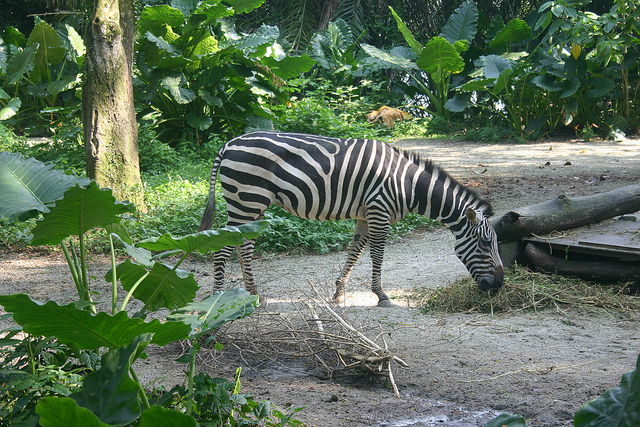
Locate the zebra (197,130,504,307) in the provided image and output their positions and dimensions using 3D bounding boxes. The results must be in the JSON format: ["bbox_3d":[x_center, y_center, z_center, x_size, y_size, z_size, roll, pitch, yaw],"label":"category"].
[{"bbox_3d":[0.485,0.133,10.859,5.286,2.190,1.061,5,-7,-24],"label":"zebra"}]
